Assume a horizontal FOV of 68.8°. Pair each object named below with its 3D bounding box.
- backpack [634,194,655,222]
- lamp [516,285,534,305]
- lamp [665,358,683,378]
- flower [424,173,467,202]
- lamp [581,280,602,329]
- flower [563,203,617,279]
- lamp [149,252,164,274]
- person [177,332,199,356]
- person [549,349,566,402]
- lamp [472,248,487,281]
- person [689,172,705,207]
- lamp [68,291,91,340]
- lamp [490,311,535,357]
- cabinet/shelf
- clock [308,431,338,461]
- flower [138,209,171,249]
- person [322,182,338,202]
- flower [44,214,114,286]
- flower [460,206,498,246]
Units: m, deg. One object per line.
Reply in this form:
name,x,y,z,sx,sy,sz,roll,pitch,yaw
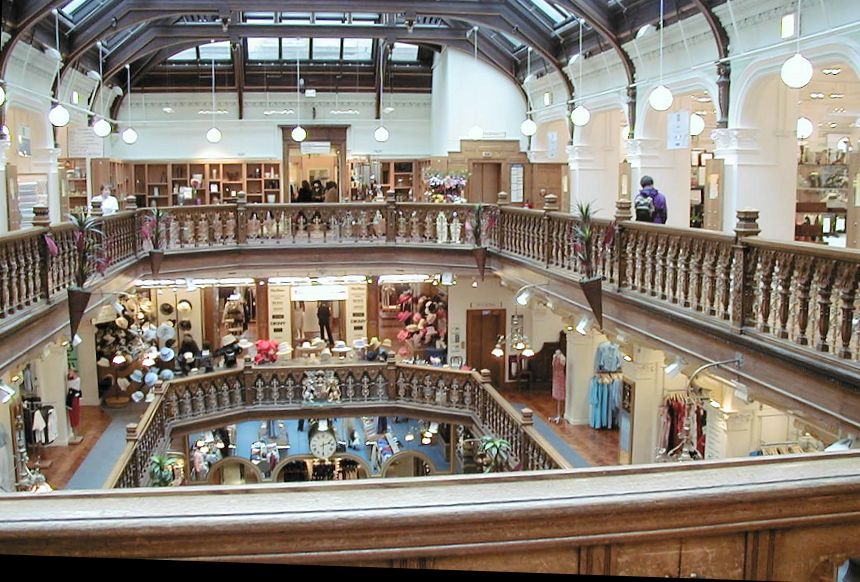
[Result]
backpack,3.049,-1.160,8.906,0.250,0.362,0.159,0,5,18
lamp,1.544,0.061,10.104,0.092,0.295,0.394,21,25,1
lamp,2.841,0.926,7.314,0.154,0.241,0.404,0,6,17
flower,0.425,-2.634,16.263,1.099,0.777,1.043,1,11,1
lamp,2.309,0.170,8.707,0.410,0.725,0.256,-6,7,-40
flower,2.274,-0.645,9.000,0.655,1.269,0.624,-2,2,35
lamp,-5.372,-0.543,12.360,0.242,0.484,0.304,-5,6,-29
person,-6.519,1.449,16.889,0.704,0.824,0.481,0,-2,-9
person,3.369,2.167,16.308,0.273,1.133,0.575,0,5,18
lamp,1.114,-0.618,13.684,0.266,0.622,0.289,-2,5,0
person,6.264,-2.430,14.733,0.273,0.831,0.768,0,6,21
lamp,-4.592,0.310,8.276,0.268,0.704,0.553,-5,6,-30
lamp,2.324,1.218,16.741,1.066,1.153,0.918,0,-2,37
cabinet/shelf,-8.027,-3.425,19.996,6.076,1.557,2.617,-5,7,-28
clock,-2.356,3.396,13.803,0.642,0.667,0.110,-5,2,0
flower,-5.441,-1.212,12.442,0.446,0.810,0.806,-3,6,-14
person,-2.642,-2.656,16.871,0.303,0.539,0.988,-3,6,-13
flower,-4.766,-0.652,8.641,0.459,0.787,0.553,-5,-2,33
flower,1.131,-1.404,13.633,0.268,0.897,1.215,-5,6,-29
